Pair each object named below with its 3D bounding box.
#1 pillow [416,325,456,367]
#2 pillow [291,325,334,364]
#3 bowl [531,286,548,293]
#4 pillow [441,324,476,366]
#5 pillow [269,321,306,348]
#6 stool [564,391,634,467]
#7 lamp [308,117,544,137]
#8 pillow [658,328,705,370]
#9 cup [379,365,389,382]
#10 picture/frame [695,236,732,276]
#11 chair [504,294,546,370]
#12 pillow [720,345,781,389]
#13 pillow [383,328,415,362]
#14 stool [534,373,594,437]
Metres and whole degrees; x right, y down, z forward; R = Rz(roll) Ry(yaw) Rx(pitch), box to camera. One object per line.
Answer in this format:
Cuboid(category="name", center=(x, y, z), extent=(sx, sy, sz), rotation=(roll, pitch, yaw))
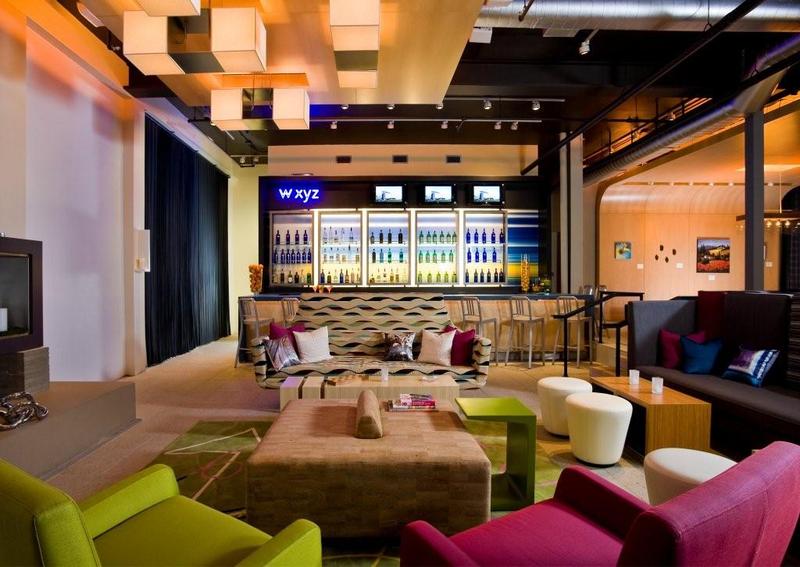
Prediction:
Cuboid(category="pillow", center=(0.439, 0.789, 6.968), extent=(0.452, 0.399, 0.172), rotation=(3, -30, 27))
Cuboid(category="pillow", center=(-1.113, 0.777, 7.034), extent=(0.432, 0.343, 0.154), rotation=(-4, -23, -36))
Cuboid(category="bowl", center=(2.522, 0.100, 10.108), extent=(0.269, 0.104, 0.170), rotation=(-1, 0, 9))
Cuboid(category="pillow", center=(0.777, 0.769, 6.892), extent=(0.423, 0.403, 0.183), rotation=(1, -15, 37))
Cuboid(category="pillow", center=(-1.409, 0.647, 7.015), extent=(0.290, 0.242, 0.105), rotation=(-6, -20, -40))
Cuboid(category="stool", center=(1.827, 1.365, 5.361), extent=(0.655, 0.570, 0.598), rotation=(0, 0, 41))
Cuboid(category="lamp", center=(0.363, -2.589, 9.304), extent=(3.542, 0.286, 1.054), rotation=(-1, 0, -4))
Cuboid(category="pillow", center=(3.160, 0.755, 6.337), extent=(0.460, 0.337, 0.166), rotation=(-3, 5, -22))
Cuboid(category="cup", center=(-0.193, 0.997, 6.183), extent=(0.132, 0.220, 0.125), rotation=(-1, 0, 0))
Cuboid(category="picture/frame", center=(6.918, -0.634, 12.446), extent=(0.953, 0.972, 0.042), rotation=(1, -2, 1))
Cuboid(category="chair", center=(1.986, 0.747, 9.050), extent=(0.654, 1.092, 0.771), rotation=(-1, 1, 13))
Cuboid(category="pillow", center=(3.639, 0.858, 5.842), extent=(0.362, 0.354, 0.364), rotation=(-1, 1, -24))
Cuboid(category="pillow", center=(-0.004, 0.788, 7.102), extent=(0.384, 0.336, 0.535), rotation=(-1, 0, -2))
Cuboid(category="stool", center=(1.585, 1.273, 5.923), extent=(0.653, 0.552, 0.535), rotation=(2, -1, -8))
